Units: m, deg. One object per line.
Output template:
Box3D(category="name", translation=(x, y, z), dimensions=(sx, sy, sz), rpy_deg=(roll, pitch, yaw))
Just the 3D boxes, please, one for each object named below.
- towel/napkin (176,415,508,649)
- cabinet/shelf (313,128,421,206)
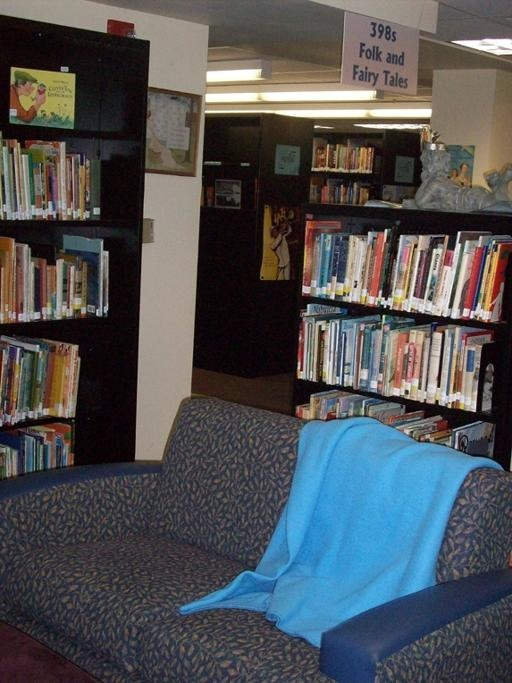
Box3D(category="towel/napkin", translation=(0.236, 0.520, 1.490), dimensions=(0.626, 0.342, 0.839), rpy_deg=(1, 16, 31))
Box3D(category="cabinet/shelf", translation=(1.775, -2.243, 7.467), dimensions=(0.555, 0.969, 1.007), rpy_deg=(8, 10, -15))
